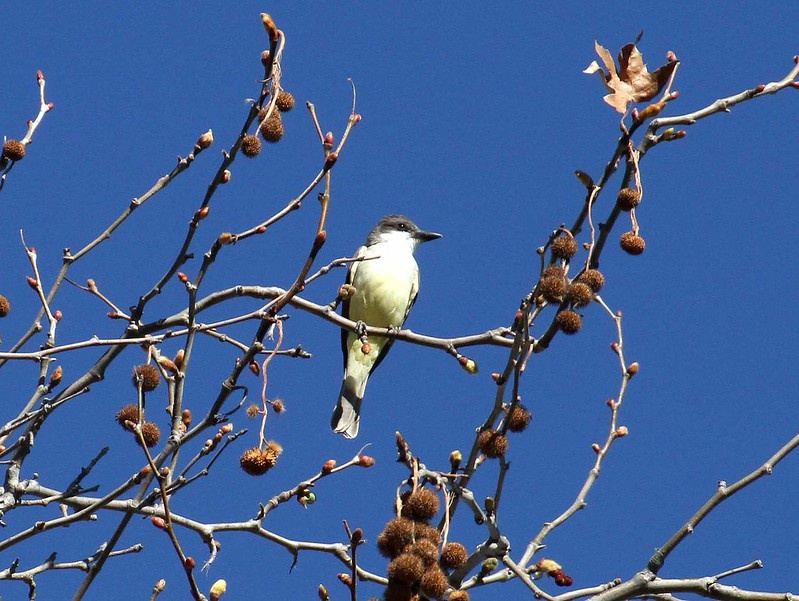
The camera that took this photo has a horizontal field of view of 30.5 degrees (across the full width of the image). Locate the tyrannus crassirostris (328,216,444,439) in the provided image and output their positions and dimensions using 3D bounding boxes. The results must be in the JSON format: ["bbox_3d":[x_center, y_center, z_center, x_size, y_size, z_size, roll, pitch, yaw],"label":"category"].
[{"bbox_3d":[-0.157,0.029,11.328,0.545,0.837,2.135,18,-82,-9],"label":"tyrannus crassirostris"}]
